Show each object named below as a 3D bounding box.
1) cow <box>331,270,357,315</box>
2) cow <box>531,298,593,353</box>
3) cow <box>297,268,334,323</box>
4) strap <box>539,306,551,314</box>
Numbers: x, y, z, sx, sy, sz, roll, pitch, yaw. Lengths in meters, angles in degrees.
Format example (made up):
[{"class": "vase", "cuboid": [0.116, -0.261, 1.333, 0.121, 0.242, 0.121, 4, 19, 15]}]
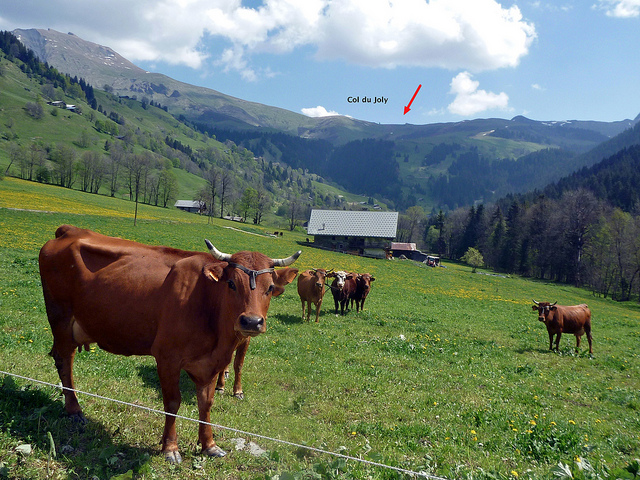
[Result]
[{"class": "cow", "cuboid": [1.366, 2.991, 34.633, 1.337, 2.731, 4.542, 5, 2, 4]}, {"class": "cow", "cuboid": [13.270, 4.712, 29.730, 3.647, 2.918, 1.480, 5, -4, -20]}, {"class": "cow", "cuboid": [-0.472, 2.960, 30.683, 0.933, 2.784, 2.431, 7, 3, -22]}, {"class": "strap", "cuboid": [11.977, 3.684, 29.060, 0.533, 0.427, 0.261, 8, 2, -26]}]
